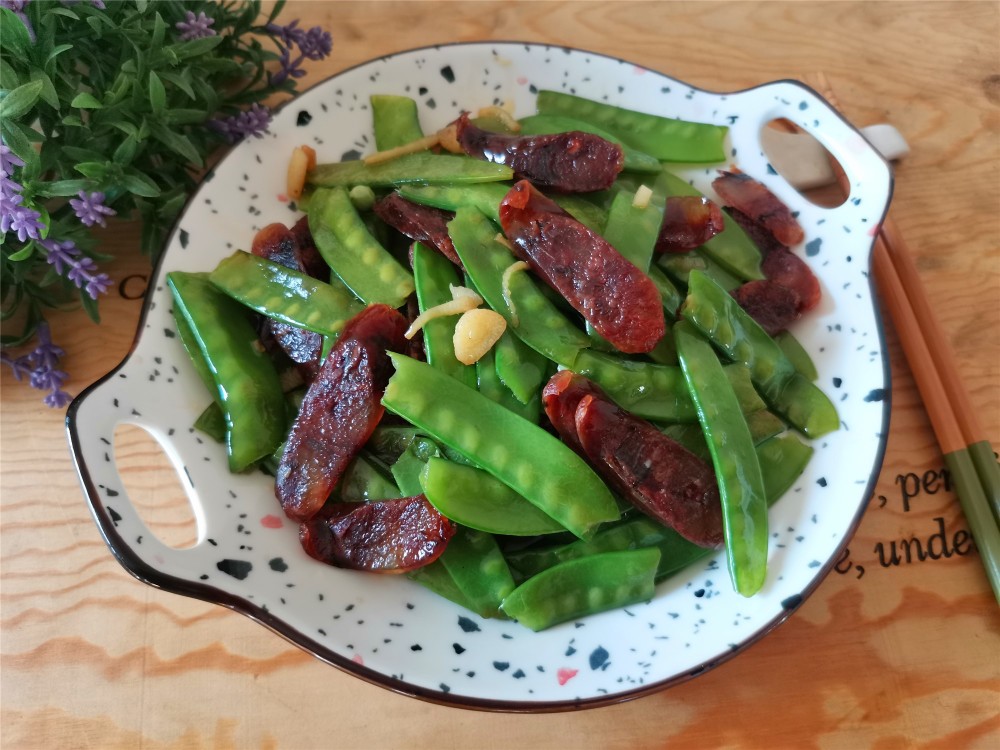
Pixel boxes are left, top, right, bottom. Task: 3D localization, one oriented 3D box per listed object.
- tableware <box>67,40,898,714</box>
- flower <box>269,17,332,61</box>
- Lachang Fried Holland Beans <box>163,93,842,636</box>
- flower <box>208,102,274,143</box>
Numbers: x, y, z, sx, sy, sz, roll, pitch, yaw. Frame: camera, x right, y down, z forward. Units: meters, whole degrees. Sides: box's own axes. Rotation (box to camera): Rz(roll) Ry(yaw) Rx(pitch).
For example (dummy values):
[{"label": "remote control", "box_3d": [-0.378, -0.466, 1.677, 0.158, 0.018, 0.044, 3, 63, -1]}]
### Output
[{"label": "tableware", "box_3d": [0.056, -0.099, 2.510, 1.734, 0.376, 1.692, 20, 83, 5]}, {"label": "flower", "box_3d": [-0.527, -0.854, 2.802, 0.156, 0.075, 0.089, 18, 88, -16]}, {"label": "Lachang Fried Holland Beans", "box_3d": [0.005, -0.106, 2.516, 1.244, 0.226, 1.315, -11, 73, -5]}, {"label": "flower", "box_3d": [-0.638, -0.604, 2.671, 0.080, 0.173, 0.094, -18, 92, -40]}]
